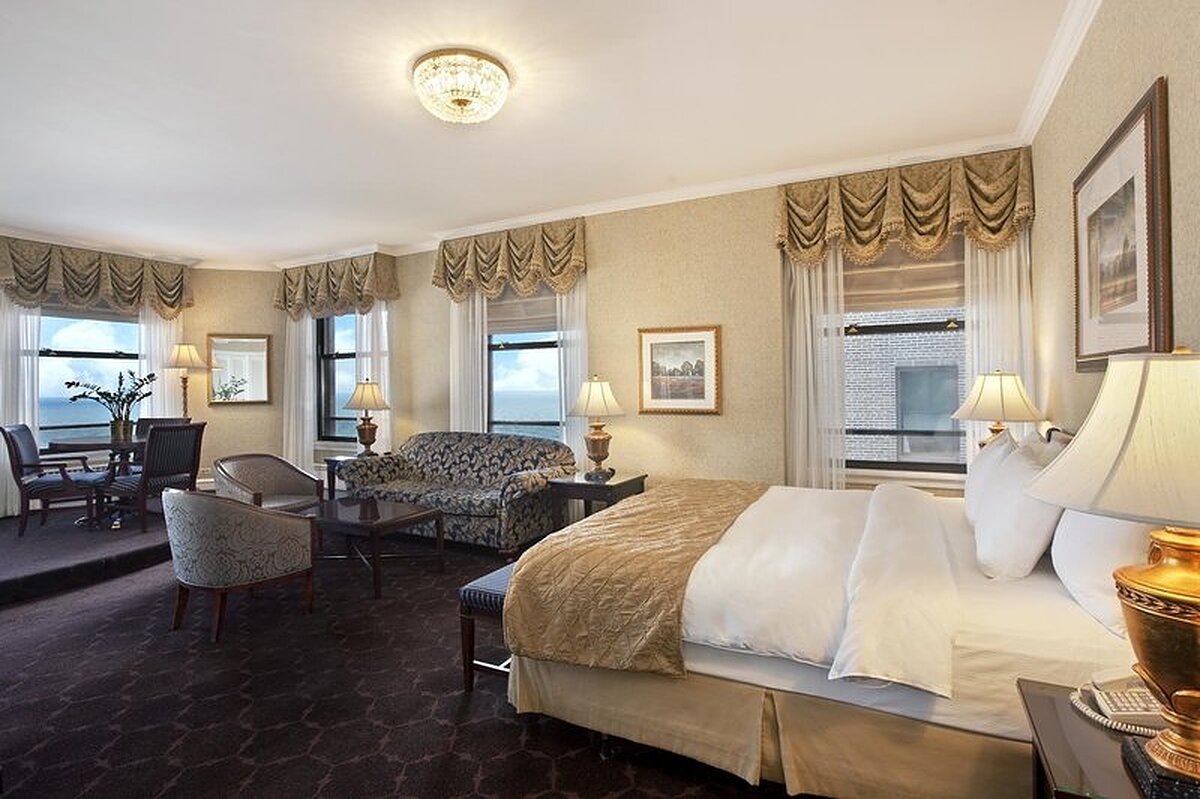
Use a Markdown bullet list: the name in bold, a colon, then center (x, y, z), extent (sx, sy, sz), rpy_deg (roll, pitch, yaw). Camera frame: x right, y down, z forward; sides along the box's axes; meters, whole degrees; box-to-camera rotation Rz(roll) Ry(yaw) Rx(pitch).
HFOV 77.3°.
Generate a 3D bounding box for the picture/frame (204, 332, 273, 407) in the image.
- **picture/frame**: center (-4.475, -0.381, 9.143), extent (0.940, 1.188, 0.082), rpy_deg (0, -1, -26)

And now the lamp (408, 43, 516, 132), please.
- **lamp**: center (-0.893, -2.035, 4.845), extent (0.666, 0.256, 0.341), rpy_deg (-2, 1, -12)

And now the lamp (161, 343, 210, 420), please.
- **lamp**: center (-4.849, -0.231, 8.753), extent (0.400, 0.738, 0.495), rpy_deg (-3, 1, -29)

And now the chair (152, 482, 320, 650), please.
- **chair**: center (-2.693, 1.078, 5.449), extent (1.058, 1.180, 0.960), rpy_deg (0, 0, 35)

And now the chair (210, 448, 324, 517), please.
- **chair**: center (-2.963, 0.723, 6.665), extent (0.647, 0.641, 0.703), rpy_deg (-4, -7, 29)

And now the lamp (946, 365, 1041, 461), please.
- **lamp**: center (2.730, 0.097, 5.292), extent (0.592, 0.722, 0.573), rpy_deg (0, -5, 3)

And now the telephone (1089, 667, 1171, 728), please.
- **telephone**: center (2.255, 1.265, 3.201), extent (0.209, 0.087, 0.295), rpy_deg (-8, 4, 17)

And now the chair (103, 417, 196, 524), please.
- **chair**: center (-4.442, 0.700, 7.206), extent (0.752, 0.990, 0.646), rpy_deg (3, 5, -7)

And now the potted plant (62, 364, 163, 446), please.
- **potted plant**: center (-5.094, 0.024, 7.938), extent (1.085, 0.833, 1.049), rpy_deg (0, -1, 6)

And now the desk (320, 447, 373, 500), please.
- **desk**: center (-2.781, 0.787, 7.892), extent (0.631, 0.589, 0.631), rpy_deg (-2, -3, 15)

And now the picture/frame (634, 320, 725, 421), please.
- **picture/frame**: center (0.750, -0.266, 6.710), extent (0.928, 0.919, 0.071), rpy_deg (0, 1, 30)
